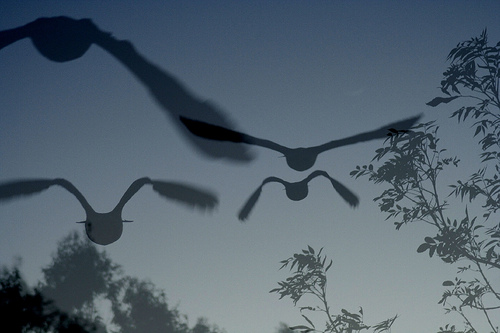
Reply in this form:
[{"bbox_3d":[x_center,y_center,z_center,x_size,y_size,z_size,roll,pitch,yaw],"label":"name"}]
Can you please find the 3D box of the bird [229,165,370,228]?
[{"bbox_3d":[0.740,0.438,11.781,2.216,0.847,0.554,-3,-77,7],"label":"bird"}]
